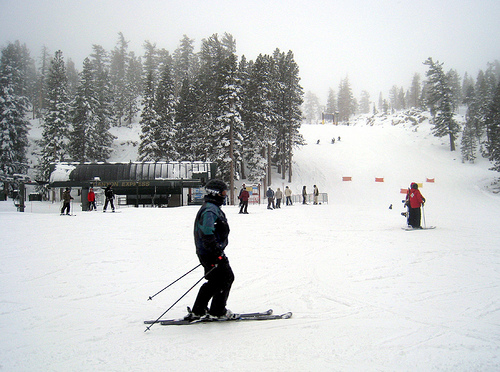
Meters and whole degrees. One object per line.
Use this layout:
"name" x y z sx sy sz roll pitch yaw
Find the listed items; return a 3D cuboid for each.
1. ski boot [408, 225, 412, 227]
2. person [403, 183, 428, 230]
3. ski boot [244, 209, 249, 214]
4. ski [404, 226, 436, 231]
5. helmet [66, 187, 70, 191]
"ski boot" 7.671 1.912 23.207 0.115 0.130 0.125 2 1 21
"person" 7.812 0.948 22.927 0.863 2.143 1.049 0 0 20
"ski boot" -0.275 1.586 30.231 0.217 0.255 0.694 0 0 -4
"ski" 7.849 2.040 22.862 1.959 0.134 0.223 -2 -11 -5
"helmet" -11.856 0.213 31.429 0.183 0.211 0.199 -5 -13 20
